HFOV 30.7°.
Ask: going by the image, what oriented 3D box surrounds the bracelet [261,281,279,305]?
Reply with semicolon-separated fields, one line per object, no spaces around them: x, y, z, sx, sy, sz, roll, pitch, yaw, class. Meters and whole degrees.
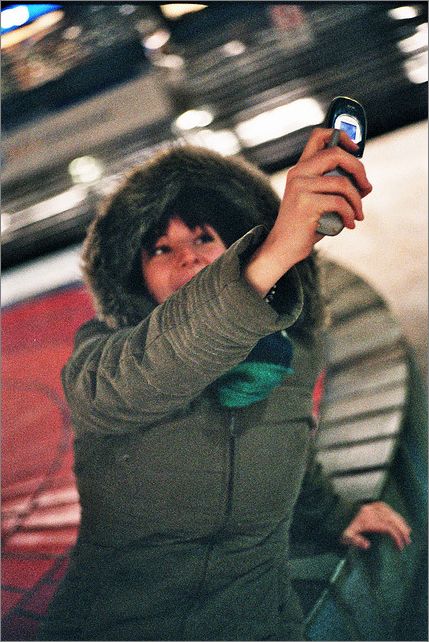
0.121;-0.059;1.617;0.031;0.015;0.038;2;53;57;bracelet
